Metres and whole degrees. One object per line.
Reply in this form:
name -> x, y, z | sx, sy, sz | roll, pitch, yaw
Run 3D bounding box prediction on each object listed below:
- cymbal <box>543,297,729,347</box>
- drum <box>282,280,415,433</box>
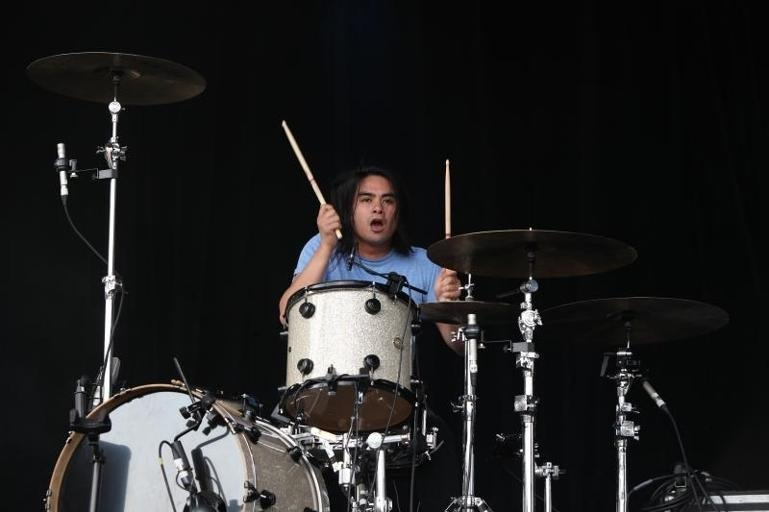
cymbal -> 1.506, 0.395, 8.224 | 1.087, 0.263, 0.638 | 0, -5, 12
drum -> -0.185, 0.640, 7.973 | 0.952, 0.706, 0.918 | 1, -29, 1
